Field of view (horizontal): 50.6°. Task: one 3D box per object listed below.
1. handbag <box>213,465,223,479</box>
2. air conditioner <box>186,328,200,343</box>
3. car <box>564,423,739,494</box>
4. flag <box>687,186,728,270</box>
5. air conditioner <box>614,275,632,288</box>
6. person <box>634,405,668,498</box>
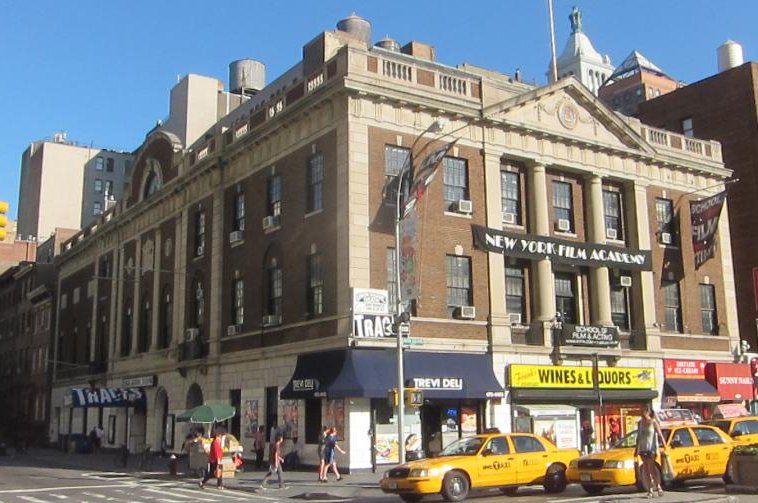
[{"bbox_3d":[-7.867,10.730,39.380,0.370,0.631,0.932,2,-17,-12],"label":"handbag"},{"bbox_3d":[-12.542,5.844,54.403,0.779,1.066,1.412,7,-15,-26],"label":"air conditioner"},{"bbox_3d":[11.769,9.021,33.889,7.406,2.875,2.616,4,-9,-29],"label":"car"},{"bbox_3d":[21.701,-1.581,53.352,0.941,4.600,2.776,7,-18,-27],"label":"flag"},{"bbox_3d":[15.655,2.130,51.517,1.197,0.882,0.648,6,-11,-36],"label":"air conditioner"},{"bbox_3d":[10.904,8.051,32.340,0.989,3.706,1.086,-8,-17,24],"label":"person"}]
